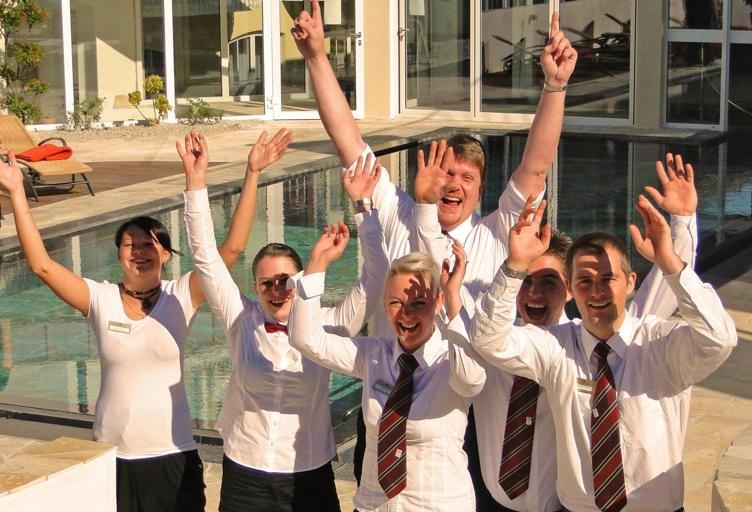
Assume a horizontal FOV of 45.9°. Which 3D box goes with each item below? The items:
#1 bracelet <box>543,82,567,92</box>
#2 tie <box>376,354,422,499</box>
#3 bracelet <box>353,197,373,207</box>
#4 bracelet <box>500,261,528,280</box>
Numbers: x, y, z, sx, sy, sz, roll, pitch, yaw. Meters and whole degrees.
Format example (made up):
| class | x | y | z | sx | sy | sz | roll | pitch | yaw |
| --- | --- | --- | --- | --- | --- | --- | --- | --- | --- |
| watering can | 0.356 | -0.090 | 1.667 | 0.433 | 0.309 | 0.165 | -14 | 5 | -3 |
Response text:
| class | x | y | z | sx | sy | sz | roll | pitch | yaw |
| --- | --- | --- | --- | --- | --- | --- | --- | --- | --- |
| bracelet | 0.839 | -0.796 | 4.190 | 0.066 | 0.027 | 0.068 | 6 | 9 | 27 |
| tie | 0.092 | 0.719 | 3.785 | 0.142 | 0.574 | 0.214 | 1 | 8 | 14 |
| bracelet | -0.064 | -0.255 | 4.209 | 0.070 | 0.041 | 0.067 | -5 | -7 | 1 |
| bracelet | 0.566 | 0.065 | 3.648 | 0.085 | 0.034 | 0.075 | 10 | 12 | -30 |
